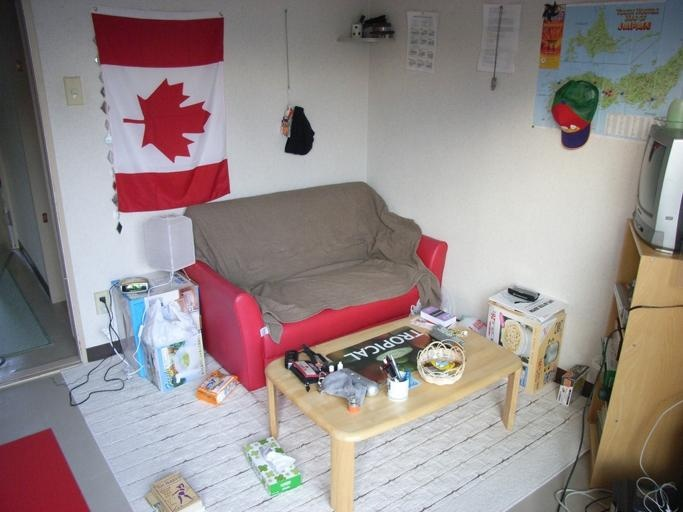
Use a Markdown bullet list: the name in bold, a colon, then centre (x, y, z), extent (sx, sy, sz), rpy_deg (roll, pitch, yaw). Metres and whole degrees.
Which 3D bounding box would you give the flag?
- **flag**: centre (-1.323, -1.086, 3.518), extent (1.145, 1.619, 0.107), rpy_deg (-18, 32, -34)

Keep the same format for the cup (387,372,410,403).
- **cup**: centre (0.304, 0.707, 2.680), extent (0.108, 0.113, 0.124), rpy_deg (-8, 30, -18)

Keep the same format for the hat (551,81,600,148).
- **hat**: centre (1.454, -0.905, 3.112), extent (0.238, 0.403, 0.199), rpy_deg (25, 37, 35)

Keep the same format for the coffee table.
- **coffee table**: centre (0.116, 0.484, 2.712), extent (1.242, 0.492, 0.867), rpy_deg (-16, 29, -31)

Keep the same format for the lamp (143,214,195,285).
- **lamp**: centre (-1.212, -0.103, 3.513), extent (0.340, 0.350, 0.260), rpy_deg (15, 26, 42)

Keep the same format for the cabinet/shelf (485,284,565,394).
- **cabinet/shelf**: centre (1.236, 0.570, 3.292), extent (0.362, 0.602, 0.440), rpy_deg (-22, 35, -38)

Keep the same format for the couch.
- **couch**: centre (-0.239, 0.107, 3.747), extent (2.106, 1.256, 1.368), rpy_deg (-16, 32, -28)
